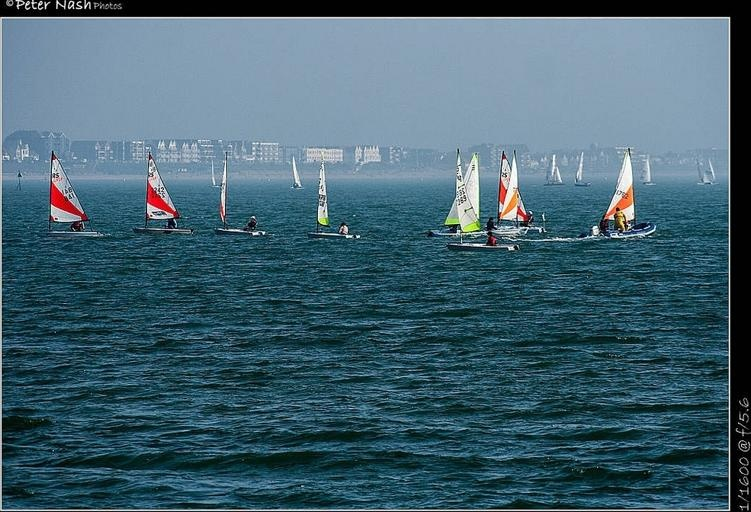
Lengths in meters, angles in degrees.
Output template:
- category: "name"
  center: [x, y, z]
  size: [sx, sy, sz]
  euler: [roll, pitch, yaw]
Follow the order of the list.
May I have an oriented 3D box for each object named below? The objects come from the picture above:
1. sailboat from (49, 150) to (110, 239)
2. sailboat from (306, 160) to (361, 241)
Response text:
- category: "sailboat"
  center: [-22.235, -4.246, 100.167]
  size: [6.152, 6.028, 1.722]
  euler: [2, 13, 29]
- category: "sailboat"
  center: [-3.090, -4.305, 107.107]
  size: [1.845, 5.991, 4.547]
  euler: [-8, 10, -42]
